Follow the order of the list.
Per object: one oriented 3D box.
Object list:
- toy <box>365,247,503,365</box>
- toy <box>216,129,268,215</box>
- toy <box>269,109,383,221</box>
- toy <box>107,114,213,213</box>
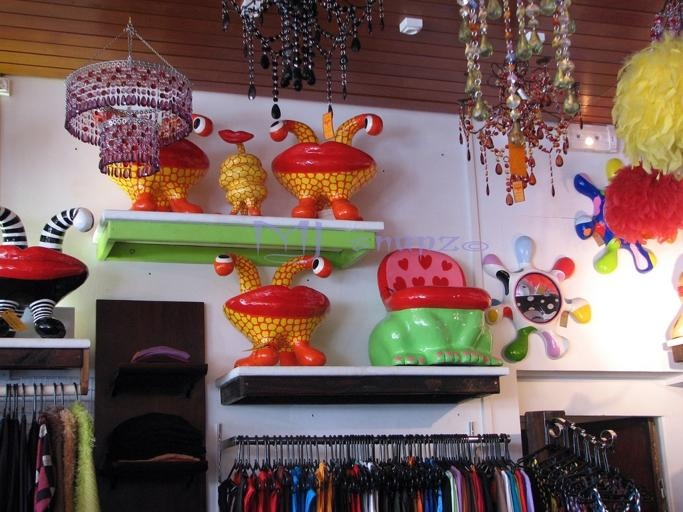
[{"bbox_3d":[0.371,0.227,3.940,0.528,0.568,0.461,5,-20,-14],"label":"toy"},{"bbox_3d":[-0.415,-0.342,3.742,0.193,0.385,0.166,-1,-9,-9],"label":"toy"},{"bbox_3d":[-0.088,-0.384,3.861,0.442,0.477,0.245,0,-10,-7],"label":"toy"},{"bbox_3d":[-0.747,-0.371,3.635,0.403,0.452,0.344,0,-3,-16],"label":"toy"}]
